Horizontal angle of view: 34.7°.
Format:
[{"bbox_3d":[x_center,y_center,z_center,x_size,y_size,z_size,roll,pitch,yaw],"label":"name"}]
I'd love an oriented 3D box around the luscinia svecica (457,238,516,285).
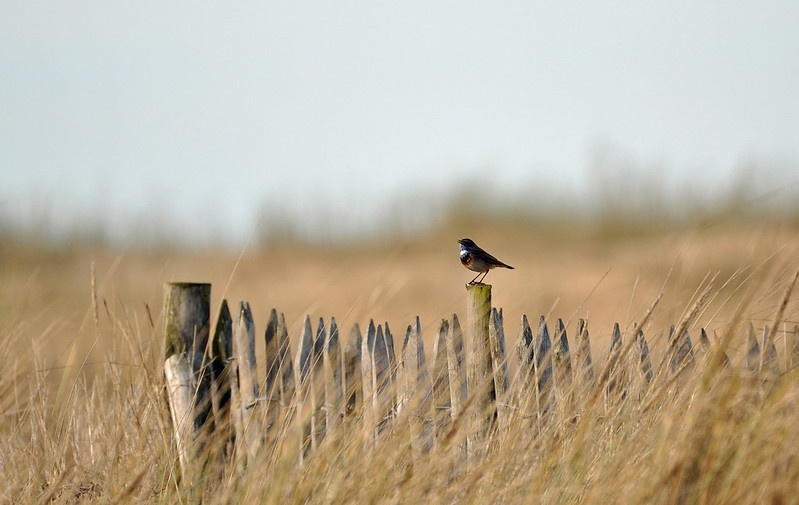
[{"bbox_3d":[0.856,0.079,12.557,0.641,0.454,0.230,1,-4,-22],"label":"luscinia svecica"}]
